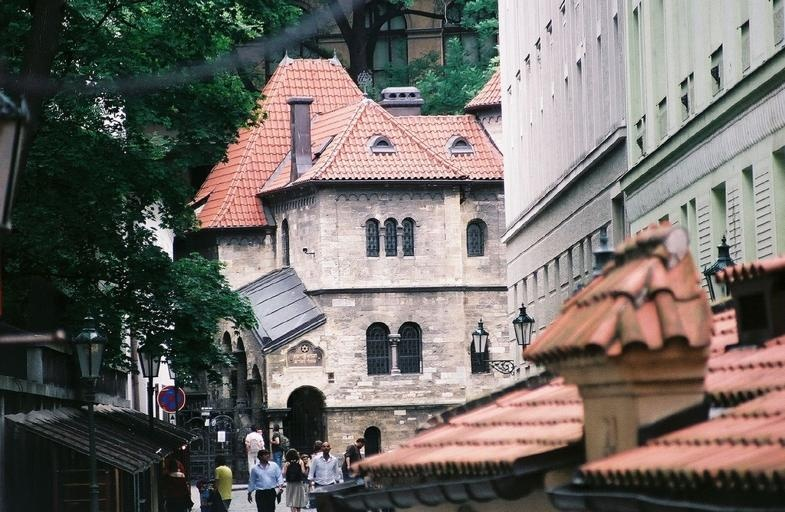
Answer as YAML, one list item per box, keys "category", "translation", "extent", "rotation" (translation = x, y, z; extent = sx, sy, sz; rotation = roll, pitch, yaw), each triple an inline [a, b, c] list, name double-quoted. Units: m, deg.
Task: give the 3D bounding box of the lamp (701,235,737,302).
- category: "lamp"
  translation: [5.985, 0.281, 36.429]
  extent: [0.676, 1.177, 0.719]
  rotation: [-1, 4, 8]

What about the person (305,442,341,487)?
- category: "person"
  translation: [-1.582, 4.960, 47.643]
  extent: [0.762, 1.258, 1.511]
  rotation: [0, -17, -2]

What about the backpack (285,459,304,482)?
- category: "backpack"
  translation: [-2.299, 5.072, 47.654]
  extent: [0.437, 0.558, 0.814]
  rotation: [0, -17, -4]
